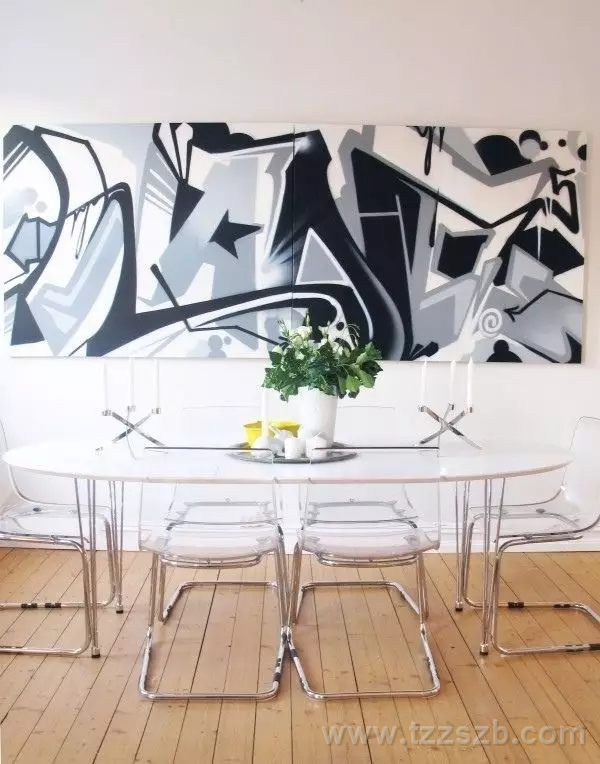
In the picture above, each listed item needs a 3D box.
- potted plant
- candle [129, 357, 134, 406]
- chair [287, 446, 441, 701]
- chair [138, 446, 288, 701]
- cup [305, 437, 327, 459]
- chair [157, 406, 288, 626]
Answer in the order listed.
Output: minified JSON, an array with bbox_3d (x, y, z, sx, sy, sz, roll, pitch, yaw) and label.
[{"bbox_3d":[0.022,0.007,2.080,0.378,0.390,0.362,-11,3,-22],"label":"potted plant"},{"bbox_3d":[-0.564,0.002,2.114,0.010,0.140,0.214,-1,3,-17],"label":"candle"},{"bbox_3d":[0.183,0.600,1.992,0.365,0.609,0.596,0,11,-1],"label":"chair"},{"bbox_3d":[-0.266,0.641,1.851,0.294,0.504,0.504,8,7,-9],"label":"chair"},{"bbox_3d":[0.046,0.200,1.888,0.055,0.063,0.058,1,1,0],"label":"cup"},{"bbox_3d":[-0.226,0.461,1.904,0.303,0.529,0.333,0,8,-1],"label":"chair"}]
